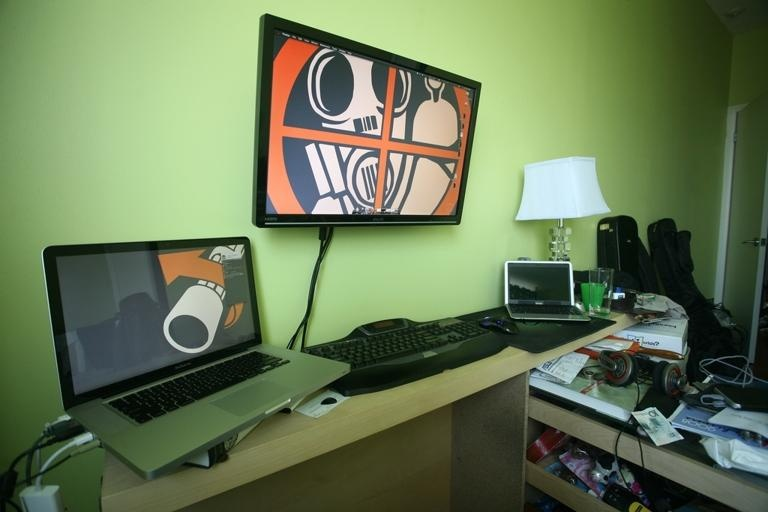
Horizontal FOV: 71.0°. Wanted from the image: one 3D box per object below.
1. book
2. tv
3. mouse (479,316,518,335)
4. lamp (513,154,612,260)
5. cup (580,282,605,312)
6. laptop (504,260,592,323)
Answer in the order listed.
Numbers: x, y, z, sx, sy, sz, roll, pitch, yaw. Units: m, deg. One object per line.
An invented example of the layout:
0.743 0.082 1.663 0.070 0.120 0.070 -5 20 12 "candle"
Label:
0.850 0.559 2.207 0.240 0.050 0.262 15 24 24 "book"
-0.104 -0.528 2.108 0.998 0.631 0.072 2 12 -35 "tv"
0.479 0.281 2.241 0.123 0.037 0.069 4 6 33 "mouse"
0.983 -0.272 2.816 0.479 0.675 0.489 -2 13 34 "lamp"
0.989 0.191 2.566 0.132 0.140 0.128 2 1 0 "cup"
0.738 0.106 2.454 0.362 0.232 0.271 0 2 -2 "laptop"
